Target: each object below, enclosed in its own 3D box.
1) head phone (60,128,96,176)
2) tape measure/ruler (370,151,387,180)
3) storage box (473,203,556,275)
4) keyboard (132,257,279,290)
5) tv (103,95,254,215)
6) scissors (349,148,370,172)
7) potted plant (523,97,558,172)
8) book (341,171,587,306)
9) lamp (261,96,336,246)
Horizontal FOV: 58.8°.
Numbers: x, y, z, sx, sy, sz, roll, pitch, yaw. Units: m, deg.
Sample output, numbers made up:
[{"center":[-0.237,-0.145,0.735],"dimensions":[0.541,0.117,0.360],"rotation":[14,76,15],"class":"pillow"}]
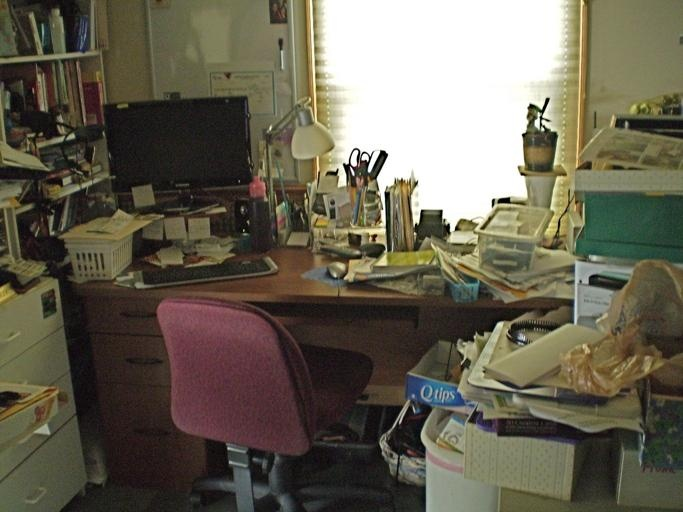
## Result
[{"center":[-1.199,-0.458,2.758],"dimensions":[0.153,0.222,0.065],"rotation":[-1,4,0],"class":"head phone"},{"center":[0.169,-0.425,2.753],"dimensions":[0.028,0.118,0.121],"rotation":[20,-18,0],"class":"tape measure/ruler"},{"center":[0.630,-0.073,2.218],"dimensions":[0.210,0.172,0.273],"rotation":[8,36,30],"class":"storage box"},{"center":[-0.543,0.059,2.431],"dimensions":[0.565,0.036,0.244],"rotation":[-6,18,-10],"class":"keyboard"},{"center":[-0.751,-0.459,2.768],"dimensions":[0.573,0.434,0.156],"rotation":[-3,11,-5],"class":"tv"},{"center":[0.086,-0.436,2.902],"dimensions":[0.126,0.053,0.180],"rotation":[5,35,-2],"class":"scissors"},{"center":[0.875,-0.535,2.679],"dimensions":[0.137,0.300,0.202],"rotation":[3,17,17],"class":"potted plant"},{"center":[0.503,-0.039,2.311],"dimensions":[0.738,0.292,0.385],"rotation":[4,18,19],"class":"book"},{"center":[-0.217,-0.434,2.868],"dimensions":[0.314,0.625,0.674],"rotation":[-5,17,-8],"class":"lamp"}]
